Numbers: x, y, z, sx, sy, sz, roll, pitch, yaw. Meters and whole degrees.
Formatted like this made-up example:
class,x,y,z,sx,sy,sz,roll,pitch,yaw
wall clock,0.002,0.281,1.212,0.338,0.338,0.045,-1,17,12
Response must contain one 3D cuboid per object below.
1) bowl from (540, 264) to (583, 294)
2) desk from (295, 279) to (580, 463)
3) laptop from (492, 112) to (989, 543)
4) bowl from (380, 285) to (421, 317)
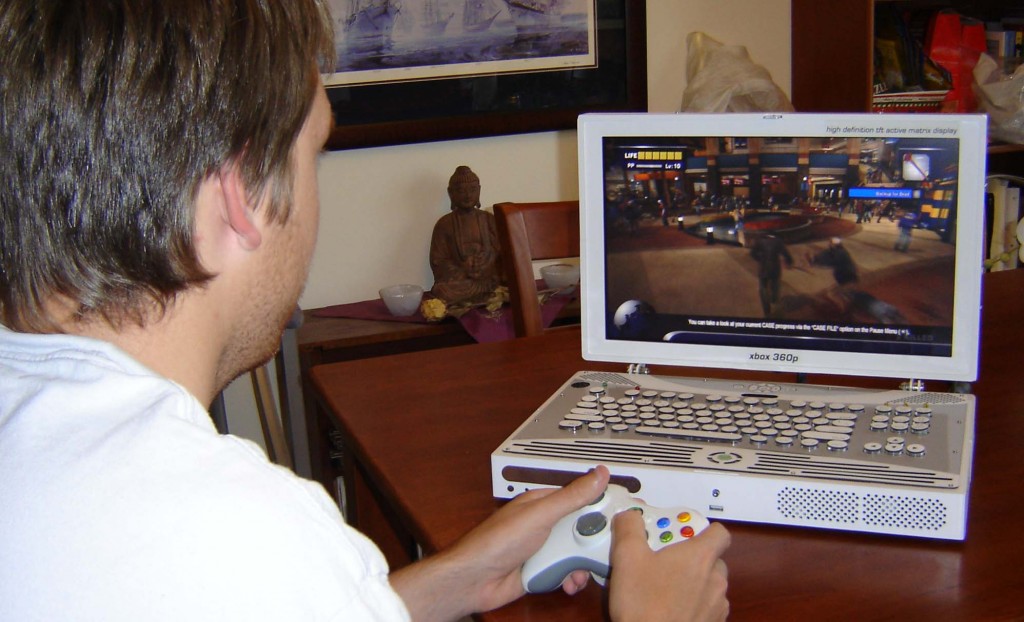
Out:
class,x,y,z,sx,sy,sz,roll,pitch,yaw
bowl,0.157,-0.109,2.522,0.099,0.068,0.100,-3,10,1
desk,-0.325,-0.002,2.328,0.953,0.561,0.530,-8,14,-24
laptop,0.301,-0.006,0.998,0.584,0.448,0.423,3,15,32
bowl,-0.364,-0.040,2.475,0.113,0.058,0.110,-2,6,0
